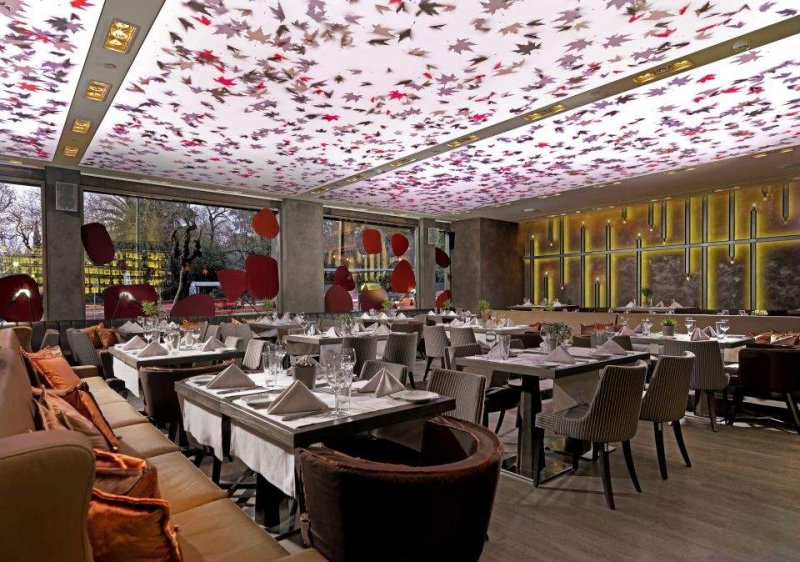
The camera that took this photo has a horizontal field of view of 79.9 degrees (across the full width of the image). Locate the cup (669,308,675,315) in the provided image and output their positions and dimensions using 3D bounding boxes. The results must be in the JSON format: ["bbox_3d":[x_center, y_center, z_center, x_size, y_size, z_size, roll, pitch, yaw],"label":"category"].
[{"bbox_3d":[5.427,0.593,9.586,0.089,0.084,0.117,-1,-6,13],"label":"cup"}]

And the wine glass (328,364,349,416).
[{"bbox_3d":[-0.348,0.602,2.733,0.113,0.270,0.158,1,9,-5],"label":"wine glass"}]

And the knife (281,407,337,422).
[{"bbox_3d":[-0.521,0.743,2.665,0.357,0.038,0.039,5,8,-42],"label":"knife"}]
